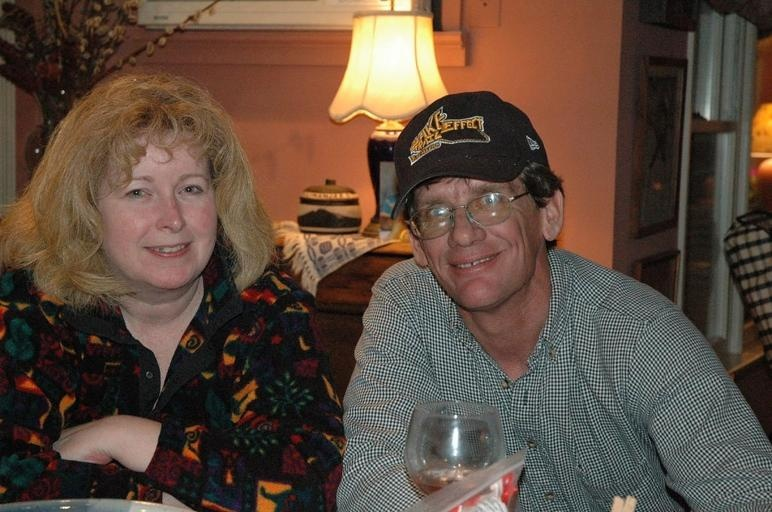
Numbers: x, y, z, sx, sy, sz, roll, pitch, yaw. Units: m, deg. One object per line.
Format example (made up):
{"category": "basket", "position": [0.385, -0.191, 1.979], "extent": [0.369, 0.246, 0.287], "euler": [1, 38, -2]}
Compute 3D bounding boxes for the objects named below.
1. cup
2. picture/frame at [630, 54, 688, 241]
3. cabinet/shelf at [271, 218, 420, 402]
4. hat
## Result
{"category": "cup", "position": [0.132, 0.374, 1.459], "extent": [0.203, 0.199, 0.196], "euler": [-2, 2, 0]}
{"category": "picture/frame", "position": [1.501, -0.618, 4.006], "extent": [0.062, 1.340, 1.216], "euler": [3, 4, 26]}
{"category": "cabinet/shelf", "position": [-0.199, 0.257, 3.395], "extent": [0.943, 0.805, 0.656], "euler": [0, 0, 0]}
{"category": "hat", "position": [0.227, -0.274, 1.949], "extent": [0.287, 0.185, 0.382], "euler": [-12, -1, 41]}
